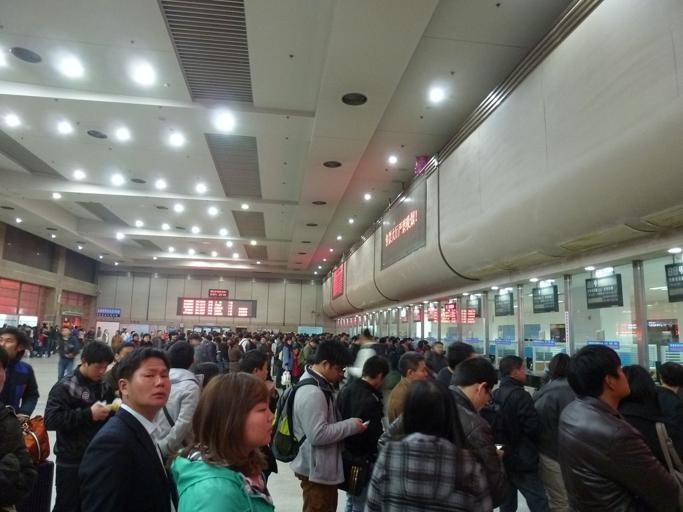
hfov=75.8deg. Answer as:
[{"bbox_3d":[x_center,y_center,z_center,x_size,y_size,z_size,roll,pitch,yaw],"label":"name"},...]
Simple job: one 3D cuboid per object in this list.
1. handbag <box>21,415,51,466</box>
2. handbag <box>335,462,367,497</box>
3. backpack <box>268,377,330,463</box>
[{"bbox_3d":[-2.212,1.340,3.165,0.186,0.353,0.346,10,-16,-32],"label":"handbag"},{"bbox_3d":[0.092,1.656,3.272,0.202,0.228,0.109,1,-13,2],"label":"handbag"},{"bbox_3d":[-0.365,1.257,3.400,0.285,0.627,0.645,11,-17,-36],"label":"backpack"}]
